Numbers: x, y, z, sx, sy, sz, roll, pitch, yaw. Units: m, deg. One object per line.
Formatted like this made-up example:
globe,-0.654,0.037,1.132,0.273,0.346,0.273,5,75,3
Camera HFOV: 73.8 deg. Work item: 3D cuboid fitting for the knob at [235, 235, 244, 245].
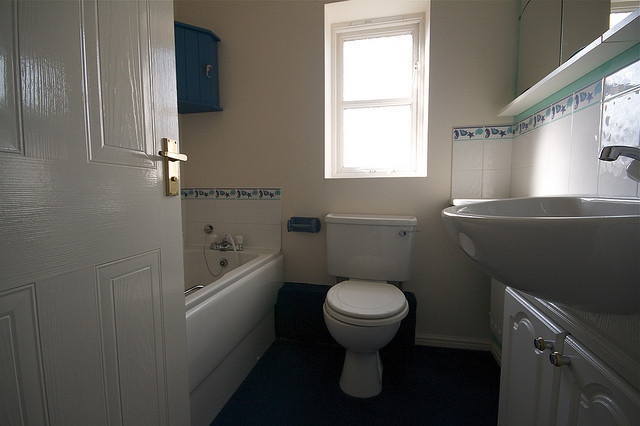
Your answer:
knob,-0.564,0.186,2.977,0.055,0.097,0.051,9,13,39

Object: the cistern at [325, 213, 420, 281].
cistern,0.330,0.201,2.749,0.592,0.397,0.334,1,9,9

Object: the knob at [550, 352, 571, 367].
knob,0.816,0.499,1.445,0.056,0.034,0.033,2,-4,-22

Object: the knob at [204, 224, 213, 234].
knob,-0.793,0.112,3.045,0.062,0.065,0.020,-3,3,14

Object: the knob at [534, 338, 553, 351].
knob,0.786,0.464,1.495,0.049,0.029,0.029,6,-3,-26

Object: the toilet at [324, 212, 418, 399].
toilet,0.303,0.492,2.485,0.540,0.900,0.709,-1,10,3

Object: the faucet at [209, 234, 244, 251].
faucet,-0.662,0.201,2.997,0.255,0.105,0.105,1,4,9
